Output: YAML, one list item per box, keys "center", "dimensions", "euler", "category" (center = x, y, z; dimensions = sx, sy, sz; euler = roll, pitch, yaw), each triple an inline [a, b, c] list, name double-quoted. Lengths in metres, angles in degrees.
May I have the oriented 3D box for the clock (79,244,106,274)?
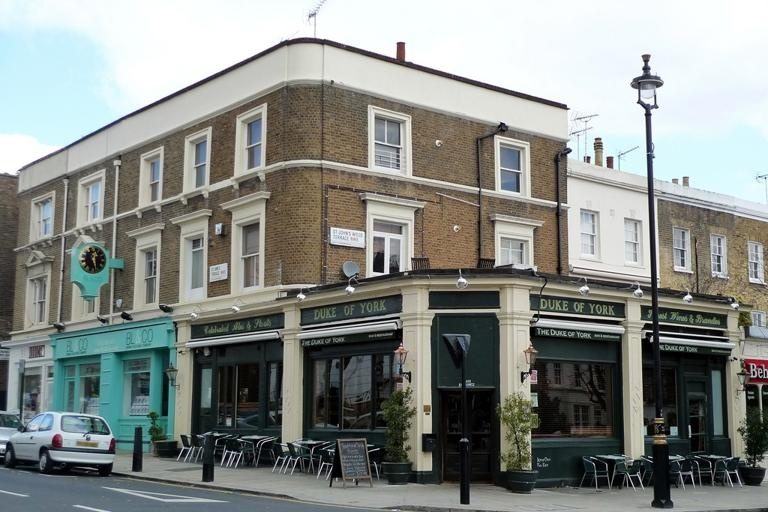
- center: [-12.767, 0.139, 47.019]
  dimensions: [0.162, 1.155, 1.201]
  euler: [-11, -1, 45]
  category: "clock"
